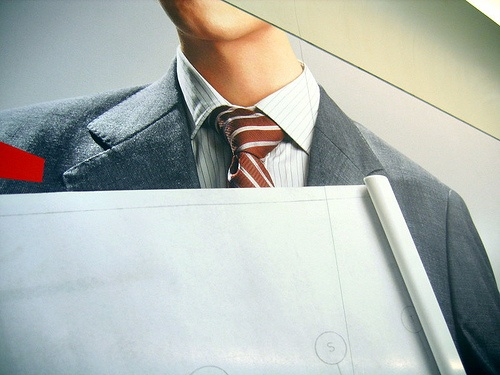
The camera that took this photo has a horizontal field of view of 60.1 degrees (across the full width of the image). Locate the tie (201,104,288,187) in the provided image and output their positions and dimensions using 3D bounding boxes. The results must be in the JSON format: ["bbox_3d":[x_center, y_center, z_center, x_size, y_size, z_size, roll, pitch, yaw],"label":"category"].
[{"bbox_3d":[-0.001,-0.113,1.178,0.191,0.086,0.229,-10,77,6],"label":"tie"}]
